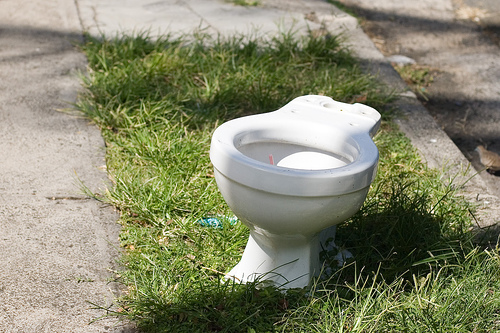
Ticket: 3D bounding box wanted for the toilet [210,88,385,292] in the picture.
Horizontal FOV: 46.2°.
[{"bbox_3d":[0.242,0.199,3.470,0.913,0.811,1.116,10,42,11],"label":"toilet"}]
